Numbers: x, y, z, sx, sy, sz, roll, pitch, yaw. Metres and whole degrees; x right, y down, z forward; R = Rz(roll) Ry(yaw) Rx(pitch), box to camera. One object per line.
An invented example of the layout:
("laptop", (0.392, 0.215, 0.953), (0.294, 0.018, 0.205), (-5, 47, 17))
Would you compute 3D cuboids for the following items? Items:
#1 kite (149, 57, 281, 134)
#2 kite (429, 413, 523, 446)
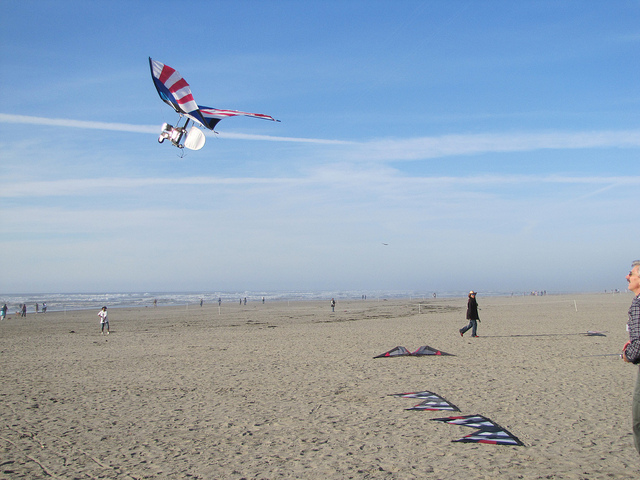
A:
("kite", (-3.746, -3.929, 19.085), (3.146, 0.806, 3.263), (29, 1, 15))
("kite", (3.342, 4.031, 13.578), (1.146, 0.275, 1.634), (2, -2, -20))
